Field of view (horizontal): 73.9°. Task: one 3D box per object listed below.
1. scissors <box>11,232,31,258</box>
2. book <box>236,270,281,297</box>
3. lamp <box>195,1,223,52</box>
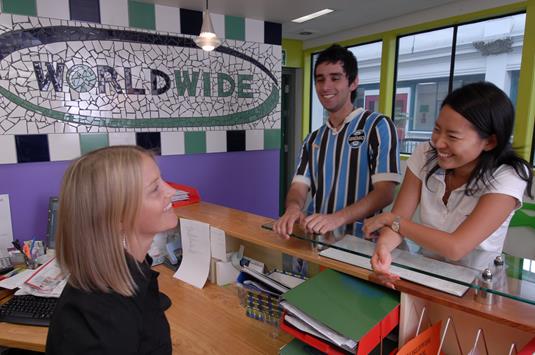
[{"bbox_3d":[-1.835,0.508,2.643,0.041,0.142,0.032,-26,21,28],"label":"scissors"},{"bbox_3d":[-0.046,0.512,1.806,0.138,0.050,0.133,21,5,27],"label":"book"},{"bbox_3d":[-0.498,-1.290,2.926,0.197,0.441,0.392,-3,12,-9],"label":"lamp"}]
